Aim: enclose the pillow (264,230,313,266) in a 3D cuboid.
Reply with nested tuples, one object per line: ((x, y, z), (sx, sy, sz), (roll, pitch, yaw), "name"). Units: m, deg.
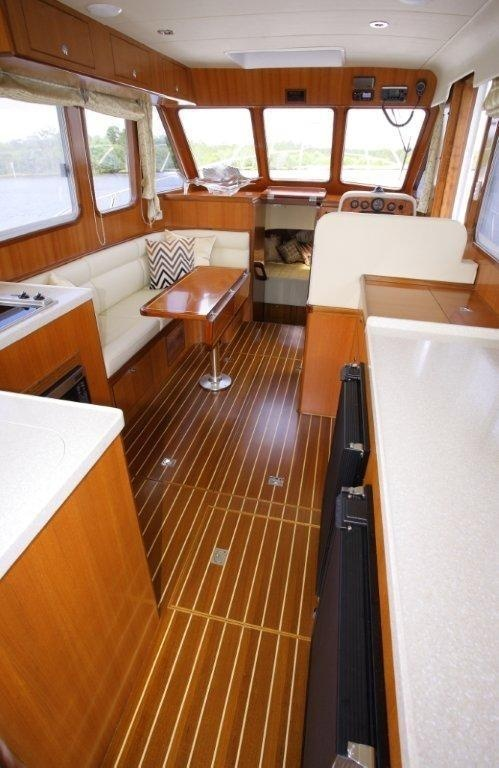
((0.530, -1.886, 5.790), (0.623, 0.415, 0.333), (2, 26, 4), "pillow")

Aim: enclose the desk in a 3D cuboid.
((-0.470, -0.459, 3.484), (0.359, 0.660, 0.888), (5, 36, 8), "desk")

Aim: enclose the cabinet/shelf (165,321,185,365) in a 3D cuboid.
((-0.650, -0.361, 3.707), (0.143, 0.215, 0.327), (6, 44, 7), "cabinet/shelf")
